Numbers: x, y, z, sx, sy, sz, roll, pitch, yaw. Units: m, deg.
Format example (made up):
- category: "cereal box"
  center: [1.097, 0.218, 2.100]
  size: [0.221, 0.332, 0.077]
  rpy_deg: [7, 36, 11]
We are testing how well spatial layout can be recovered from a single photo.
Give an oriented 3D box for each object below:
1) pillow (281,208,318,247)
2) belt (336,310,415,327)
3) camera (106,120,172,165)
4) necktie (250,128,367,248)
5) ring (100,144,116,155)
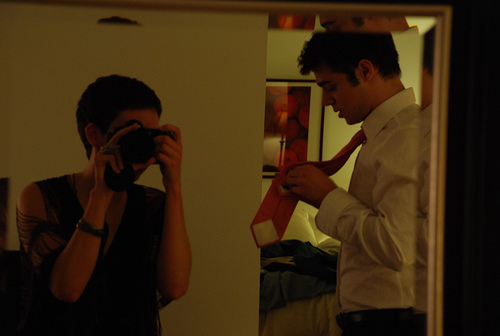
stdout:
- category: "pillow"
  center: [0.153, 0.183, 1.533]
  size: [0.088, 0.106, 0.032]
  rpy_deg: [0, -24, 8]
- category: "belt"
  center: [0.383, 0.456, 1.537]
  size: [0.233, 0.043, 0.011]
  rpy_deg: [-4, -10, 9]
- category: "camera"
  center: [-0.334, -0.086, 1.495]
  size: [0.173, 0.127, 0.058]
  rpy_deg: [3, 7, -11]
- category: "necktie"
  center: [0.168, 0.040, 1.507]
  size: [0.528, 0.156, 0.060]
  rpy_deg: [-46, -17, 28]
- category: "ring"
  center: [-0.424, -0.056, 1.484]
  size: [0.032, 0.033, 0.012]
  rpy_deg: [13, 14, -5]
